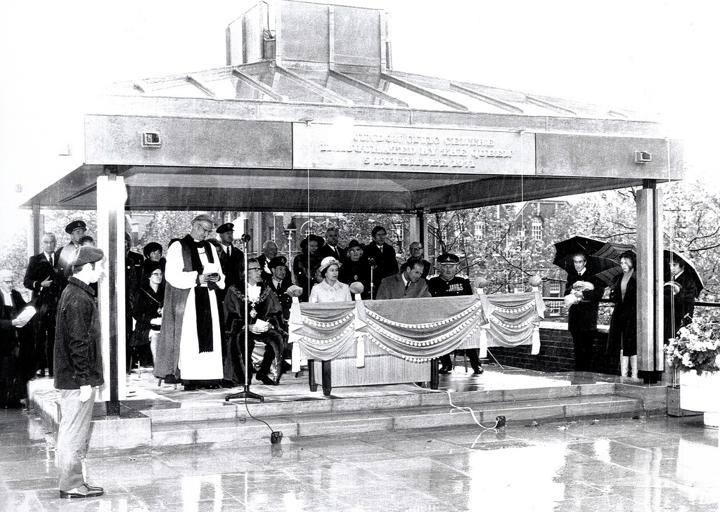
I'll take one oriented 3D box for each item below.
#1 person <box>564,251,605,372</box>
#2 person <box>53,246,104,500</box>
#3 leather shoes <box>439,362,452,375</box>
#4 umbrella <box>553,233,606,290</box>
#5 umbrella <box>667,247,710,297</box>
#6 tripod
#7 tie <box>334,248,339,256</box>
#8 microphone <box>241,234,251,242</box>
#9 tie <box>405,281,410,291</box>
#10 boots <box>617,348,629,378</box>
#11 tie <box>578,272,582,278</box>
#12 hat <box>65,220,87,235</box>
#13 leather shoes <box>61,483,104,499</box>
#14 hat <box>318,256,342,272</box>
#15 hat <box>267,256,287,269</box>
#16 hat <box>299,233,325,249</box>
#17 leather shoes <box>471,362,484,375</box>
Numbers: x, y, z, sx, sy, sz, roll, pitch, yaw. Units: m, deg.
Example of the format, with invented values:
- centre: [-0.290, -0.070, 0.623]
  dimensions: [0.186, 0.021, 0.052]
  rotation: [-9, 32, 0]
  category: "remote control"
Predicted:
- centre: [3.652, 0.867, 18.405]
  dimensions: [0.585, 1.963, 0.551]
  rotation: [3, 12, 18]
  category: "person"
- centre: [-3.214, 1.354, 12.922]
  dimensions: [0.587, 2.914, 0.729]
  rotation: [-3, 11, -11]
  category: "person"
- centre: [1.355, 1.819, 17.737]
  dimensions: [0.099, 0.131, 0.296]
  rotation: [-5, -10, 43]
  category: "leather shoes"
- centre: [3.627, -0.020, 18.791]
  dimensions: [0.832, 0.881, 0.579]
  rotation: [18, 0, 8]
  category: "umbrella"
- centre: [5.309, 0.164, 18.282]
  dimensions: [0.733, 0.750, 0.248]
  rotation: [42, 43, 23]
  category: "umbrella"
- centre: [-1.703, 1.058, 16.341]
  dimensions: [0.553, 2.178, 1.333]
  rotation: [-2, 11, -6]
  category: "tripod"
- centre: [-0.350, -0.125, 17.529]
  dimensions: [0.030, 0.117, 0.083]
  rotation: [-14, 10, 28]
  category: "tie"
- centre: [-1.612, -0.323, 16.037]
  dimensions: [0.106, 0.083, 0.106]
  rotation: [3, -5, -30]
  category: "microphone"
- centre: [0.749, 0.431, 17.578]
  dimensions: [0.035, 0.144, 0.039]
  rotation: [12, -11, -12]
  category: "tie"
- centre: [4.238, 1.729, 18.044]
  dimensions: [0.166, 0.414, 0.175]
  rotation: [4, 12, 21]
  category: "boots"
- centre: [3.624, 0.269, 18.473]
  dimensions: [0.084, 0.086, 0.020]
  rotation: [2, -11, 4]
  category: "tie"
- centre: [-4.274, -0.510, 16.926]
  dimensions: [0.464, 0.268, 0.113]
  rotation: [10, 15, 39]
  category: "hat"
- centre: [-3.193, 2.791, 12.941]
  dimensions: [0.322, 0.143, 0.213]
  rotation: [-1, -4, -7]
  category: "leather shoes"
- centre: [-0.460, 0.088, 16.972]
  dimensions: [0.239, 0.101, 0.239]
  rotation: [-31, 3, -9]
  category: "hat"
- centre: [-1.222, 0.049, 16.740]
  dimensions: [0.277, 0.220, 0.178]
  rotation: [-2, 12, -8]
  category: "hat"
- centre: [-0.719, -0.268, 17.049]
  dimensions: [0.241, 0.255, 0.065]
  rotation: [6, -13, -16]
  category: "hat"
- centre: [1.860, 1.790, 17.759]
  dimensions: [0.209, 0.215, 0.193]
  rotation: [0, 13, 7]
  category: "leather shoes"
